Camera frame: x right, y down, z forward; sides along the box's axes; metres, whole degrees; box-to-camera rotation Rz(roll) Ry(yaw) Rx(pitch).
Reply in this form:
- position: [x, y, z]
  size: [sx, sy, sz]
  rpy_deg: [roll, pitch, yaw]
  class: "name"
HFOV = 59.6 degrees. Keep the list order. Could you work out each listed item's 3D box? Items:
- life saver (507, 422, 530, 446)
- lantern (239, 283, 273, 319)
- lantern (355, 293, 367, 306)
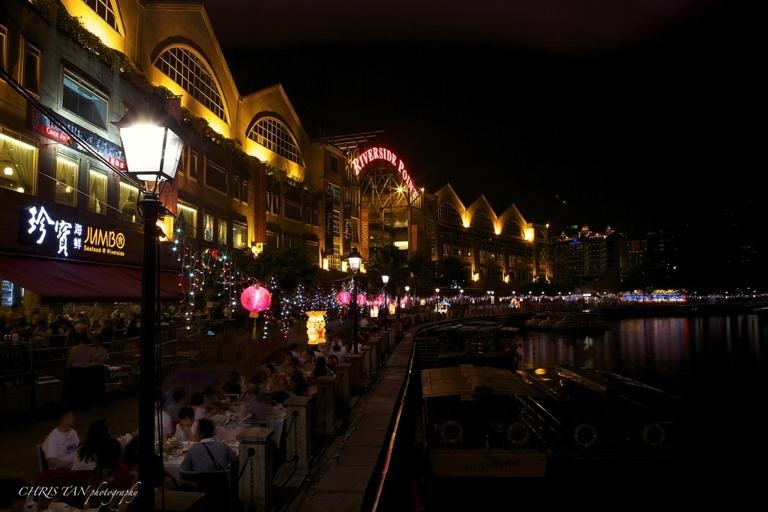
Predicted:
- position: [5.152, 6.920, 25.885]
  size: [0.818, 0.851, 0.132]
  rpy_deg: [1, -7, -6]
  class: "life saver"
- position: [-5.983, 2.106, 31.258]
  size: [1.324, 1.600, 1.381]
  rpy_deg: [15, 18, 15]
  class: "lantern"
- position: [-1.902, 3.637, 55.780]
  size: [1.030, 0.436, 1.195]
  rpy_deg: [4, 30, -2]
  class: "lantern"
